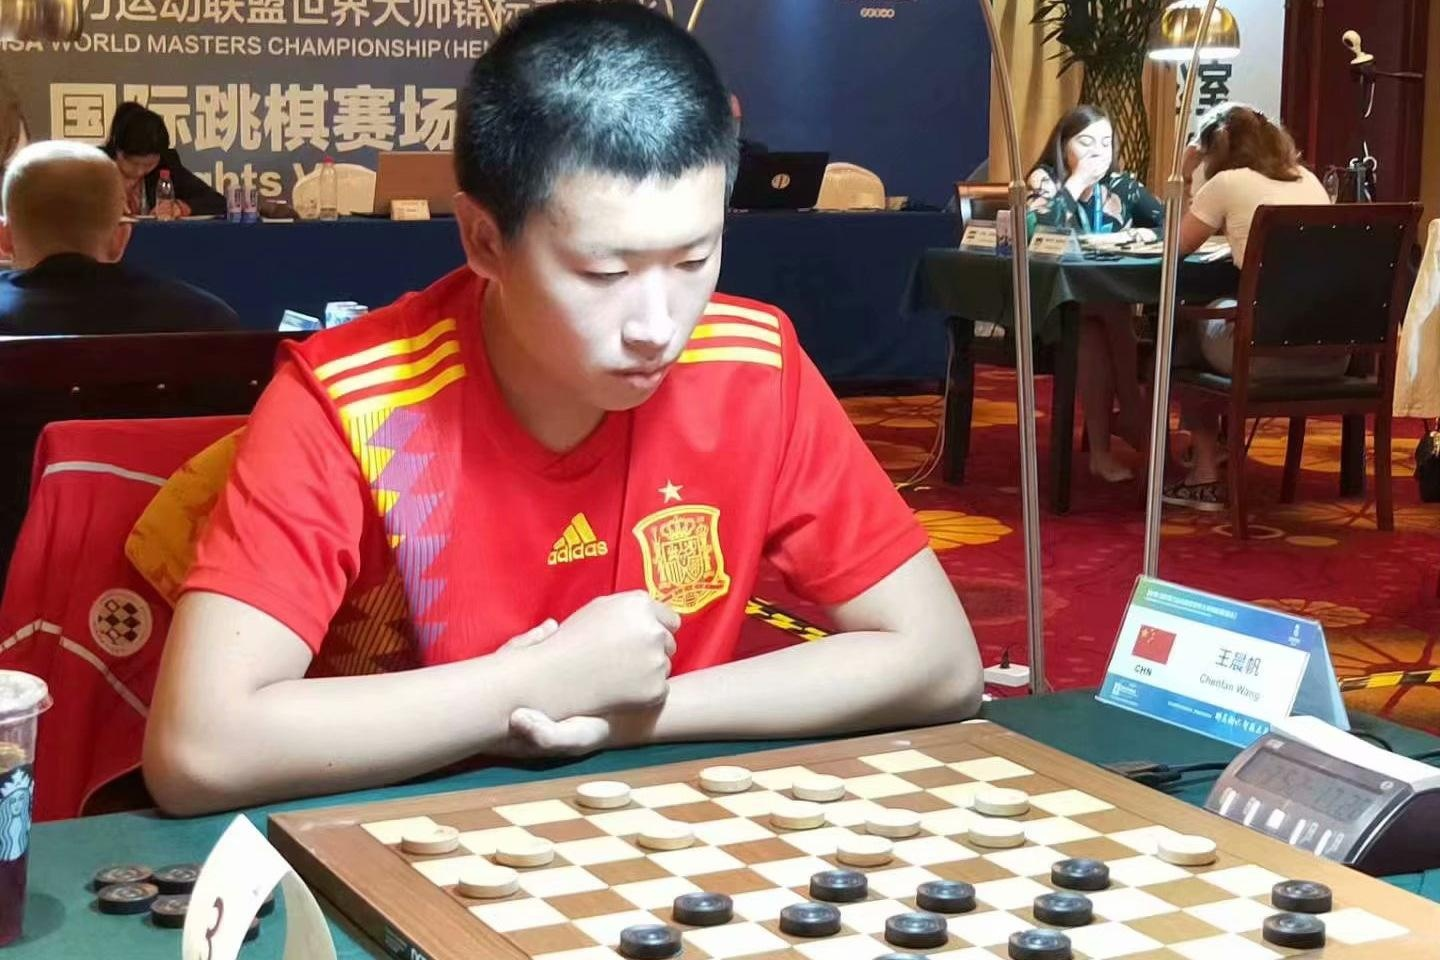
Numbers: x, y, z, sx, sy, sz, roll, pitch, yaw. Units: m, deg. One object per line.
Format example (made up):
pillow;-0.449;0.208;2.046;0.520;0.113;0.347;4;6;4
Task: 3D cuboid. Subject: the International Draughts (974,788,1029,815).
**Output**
International Draughts;0.227;0.264;0.858;0.025;0.005;0.024;2;6;29

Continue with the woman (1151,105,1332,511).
woman;2.403;-0.835;4.765;0.728;1.674;0.903;-3;7;-15

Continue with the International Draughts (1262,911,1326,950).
International Draughts;0.367;0.288;0.675;0.036;0.014;0.035;4;7;21

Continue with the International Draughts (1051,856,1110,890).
International Draughts;0.258;0.279;0.747;0.043;0.016;0.026;-1;7;-21

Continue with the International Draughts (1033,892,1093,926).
International Draughts;0.229;0.286;0.702;0.038;0.013;0.029;-3;8;-30

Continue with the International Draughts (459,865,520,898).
International Draughts;-0.158;0.276;0.717;0.020;0.004;0.021;5;7;42

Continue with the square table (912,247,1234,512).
square table;1.638;-0.527;4.923;1.197;0.798;1.242;-1;5;-10

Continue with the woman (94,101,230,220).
woman;-3.090;-1.759;5.855;0.667;0.837;0.360;-13;-25;-32

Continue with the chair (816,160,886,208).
chair;0.877;-2.005;7.178;0.439;0.392;0.255;1;4;-8

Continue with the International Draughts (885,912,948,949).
International Draughts;0.125;0.288;0.670;0.039;0.015;0.029;3;7;12

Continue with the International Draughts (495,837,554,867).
International Draughts;-0.141;0.272;0.761;0.022;0.005;0.021;-2;7;-22

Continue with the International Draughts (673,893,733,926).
International Draughts;-0.012;0.283;0.693;0.040;0.013;0.026;1;7;-1

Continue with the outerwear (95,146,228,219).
outerwear;-3.014;-1.625;5.878;0.498;0.606;0.254;5;12;4

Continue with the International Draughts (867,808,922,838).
International Draughts;0.137;0.269;0.828;0.023;0.005;0.022;2;7;27

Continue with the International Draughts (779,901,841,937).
International Draughts;0.057;0.285;0.682;0.035;0.014;0.031;6;8;33
